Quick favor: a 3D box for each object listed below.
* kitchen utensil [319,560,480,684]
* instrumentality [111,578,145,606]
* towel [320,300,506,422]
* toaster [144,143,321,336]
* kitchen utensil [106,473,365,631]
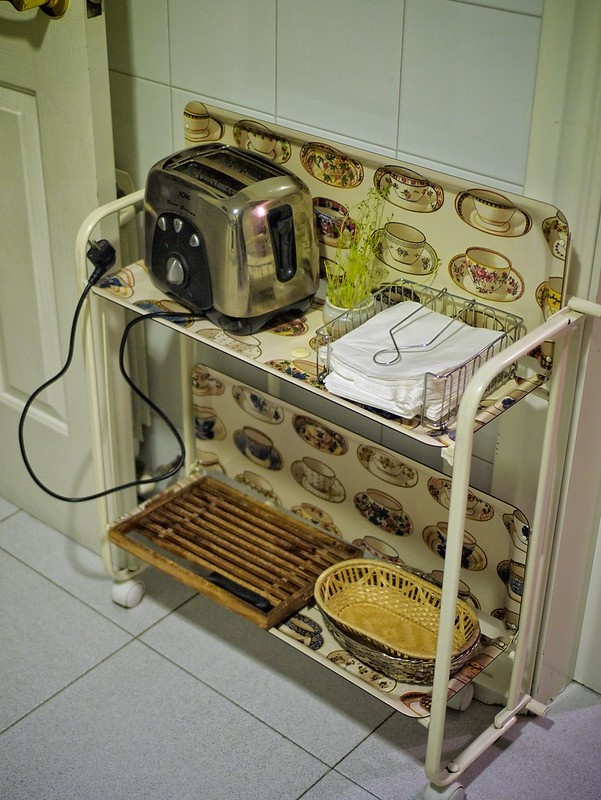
[{"bbox_3d":[0.119,0.339,1.047,0.256,0.073,0.170,26,41,28],"label":"kitchen utensil"},{"bbox_3d":[-0.346,0.384,1.363,0.041,0.054,0.058,24,22,29],"label":"instrumentality"},{"bbox_3d":[0.133,-0.050,0.801,0.166,0.061,0.249,15,27,30],"label":"towel"},{"bbox_3d":[-0.101,-0.237,0.960,0.183,0.190,0.253,-26,46,-31],"label":"toaster"},{"bbox_3d":[-0.116,0.260,1.212,0.349,0.076,0.247,25,36,31],"label":"kitchen utensil"}]
